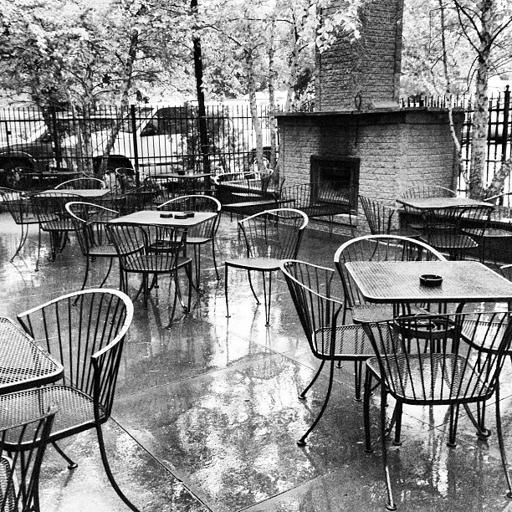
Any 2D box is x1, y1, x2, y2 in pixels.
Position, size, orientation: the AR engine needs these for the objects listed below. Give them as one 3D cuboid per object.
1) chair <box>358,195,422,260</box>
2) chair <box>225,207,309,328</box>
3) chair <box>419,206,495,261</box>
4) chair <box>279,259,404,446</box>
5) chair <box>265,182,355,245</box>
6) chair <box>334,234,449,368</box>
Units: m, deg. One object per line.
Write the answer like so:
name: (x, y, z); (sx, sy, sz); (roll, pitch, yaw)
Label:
chair: (1.798, -0.432, 7.729); (0.958, 1.280, 0.865); (-1, 12, 13)
chair: (-0.113, 0.075, 6.164); (0.837, 1.172, 0.832); (4, 7, 15)
chair: (2.211, -0.145, 5.994); (0.579, 0.727, 0.586); (-4, -2, 37)
chair: (0.425, 0.448, 3.450); (0.843, 1.273, 0.925); (-5, 16, 2)
chair: (1.110, -0.762, 9.122); (1.328, 0.960, 0.517); (7, 17, 36)
chair: (0.914, 0.322, 3.909); (0.761, 0.935, 0.660); (-1, -1, 7)
